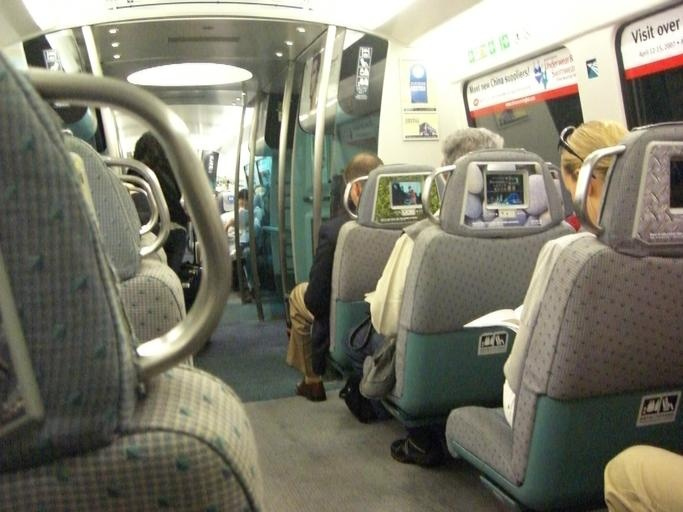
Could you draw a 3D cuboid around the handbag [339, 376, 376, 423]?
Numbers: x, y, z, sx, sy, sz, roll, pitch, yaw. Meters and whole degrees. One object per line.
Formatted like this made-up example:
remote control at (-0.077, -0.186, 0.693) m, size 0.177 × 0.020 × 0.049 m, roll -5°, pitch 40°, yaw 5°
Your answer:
handbag at (0.113, 0.983, 3.474) m, size 0.228 × 0.102 × 0.232 m, roll -38°, pitch 65°, yaw -11°
